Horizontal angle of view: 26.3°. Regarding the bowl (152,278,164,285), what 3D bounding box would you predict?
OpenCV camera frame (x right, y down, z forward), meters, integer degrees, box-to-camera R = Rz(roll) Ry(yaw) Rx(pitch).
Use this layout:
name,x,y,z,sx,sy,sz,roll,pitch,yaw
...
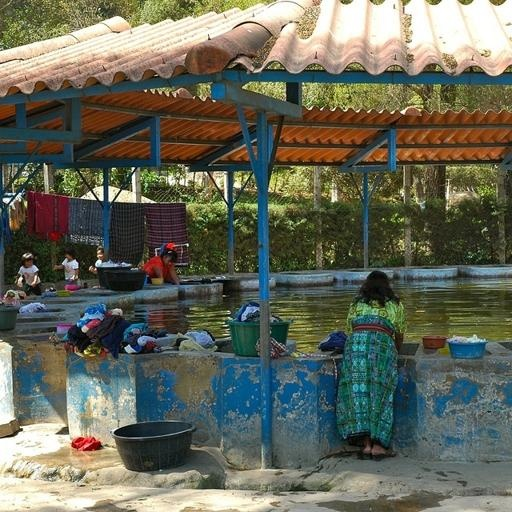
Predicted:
name,x,y,z,sx,sy,sz,roll,pitch,yaw
bowl,-1.661,0.403,18.275,0.201,0.099,0.220,-1,10,0

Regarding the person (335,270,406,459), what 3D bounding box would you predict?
name,x,y,z,sx,sy,sz,roll,pitch,yaw
person,0.979,0.995,9.435,0.584,1.442,0.752,0,11,7

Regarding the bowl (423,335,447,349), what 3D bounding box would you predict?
name,x,y,z,sx,sy,sz,roll,pitch,yaw
bowl,1.610,0.769,9.941,0.147,0.063,0.136,2,-1,0

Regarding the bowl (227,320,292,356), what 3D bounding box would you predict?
name,x,y,z,sx,sy,sz,roll,pitch,yaw
bowl,-0.006,0.679,9.809,0.401,0.360,0.530,6,12,31

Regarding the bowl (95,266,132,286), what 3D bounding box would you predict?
name,x,y,z,sx,sy,sz,roll,pitch,yaw
bowl,-2.353,0.263,17.387,0.428,0.245,0.413,0,-4,0

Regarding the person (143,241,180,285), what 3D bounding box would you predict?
name,x,y,z,sx,sy,sz,roll,pitch,yaw
person,-1.638,0.118,18.598,0.610,0.669,0.826,-2,11,-5

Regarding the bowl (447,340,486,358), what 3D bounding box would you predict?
name,x,y,z,sx,sy,sz,roll,pitch,yaw
bowl,1.806,0.796,9.451,0.314,0.157,0.149,1,11,7

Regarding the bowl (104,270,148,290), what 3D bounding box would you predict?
name,x,y,z,sx,sy,sz,roll,pitch,yaw
bowl,-2.037,0.358,17.031,0.602,0.365,0.339,-2,11,-7

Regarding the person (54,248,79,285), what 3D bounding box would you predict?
name,x,y,z,sx,sy,sz,roll,pitch,yaw
person,-3.018,0.163,17.518,0.291,0.728,0.970,-3,11,-12
